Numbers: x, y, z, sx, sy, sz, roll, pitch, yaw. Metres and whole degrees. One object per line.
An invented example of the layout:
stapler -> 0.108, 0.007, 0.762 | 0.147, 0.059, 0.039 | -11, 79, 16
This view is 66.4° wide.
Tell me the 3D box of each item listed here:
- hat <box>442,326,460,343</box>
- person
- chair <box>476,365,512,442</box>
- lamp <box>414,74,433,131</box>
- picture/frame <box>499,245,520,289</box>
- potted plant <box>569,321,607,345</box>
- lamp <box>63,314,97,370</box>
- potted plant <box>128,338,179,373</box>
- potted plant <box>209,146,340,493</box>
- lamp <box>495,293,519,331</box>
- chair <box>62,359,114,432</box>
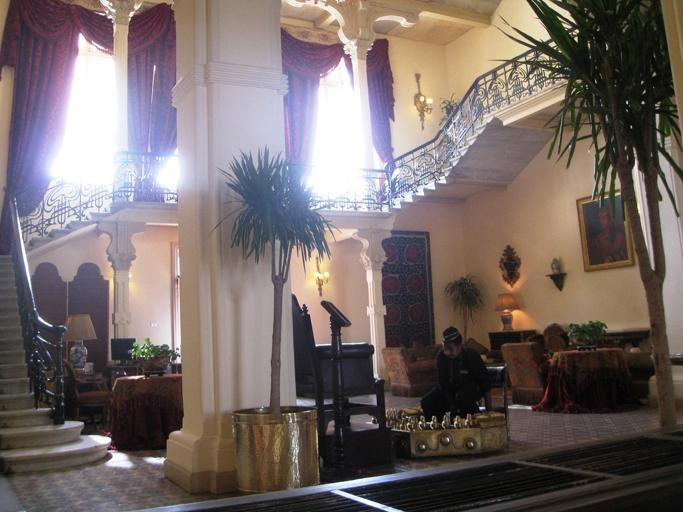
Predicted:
hat -> 1.286, 0.904, 6.044 | 0.188, 0.174, 0.391 | -8, -10, 22
person -> 1.290, 1.515, 5.974 | 0.782, 1.362, 0.787 | -4, -10, 14
chair -> 1.889, 1.718, 6.283 | 0.392, 0.658, 0.365 | -11, -12, 3
lamp -> 2.339, -4.408, 15.026 | 0.643, 1.654, 0.146 | 2, -10, -34
picture/frame -> 4.220, 0.255, 13.017 | 0.179, 1.058, 0.598 | 1, -10, -26
potted plant -> 4.182, 1.309, 8.792 | 0.505, 0.377, 0.505 | 2, -2, -37
lamp -> -4.649, 1.530, 9.206 | 0.553, 1.026, 0.534 | 5, -13, -43
potted plant -> -2.536, 1.361, 7.029 | 0.551, 0.466, 0.393 | -10, -11, 33
potted plant -> -0.582, 0.387, 4.420 | 0.711, 2.959, 0.828 | 5, -12, -43
lamp -> 4.090, 1.356, 12.825 | 0.524, 0.929, 0.723 | -7, -9, 19
chair -> -4.178, 2.270, 8.644 | 0.688, 1.108, 0.754 | 2, -10, -11
